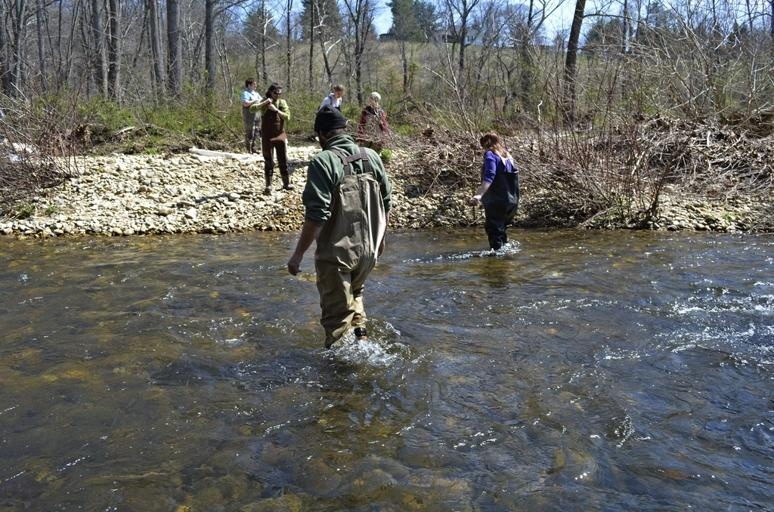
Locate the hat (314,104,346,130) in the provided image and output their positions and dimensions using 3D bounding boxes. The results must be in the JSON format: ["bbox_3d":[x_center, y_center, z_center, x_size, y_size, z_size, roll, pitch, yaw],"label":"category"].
[{"bbox_3d":[-0.625,-1.524,6.998,0.275,0.200,0.342,-6,12,-18],"label":"hat"}]

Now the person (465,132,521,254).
[{"bbox_3d":[1.841,-1.037,10.690,0.668,2.033,1.169,1,12,11],"label":"person"}]

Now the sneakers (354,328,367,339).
[{"bbox_3d":[-0.302,0.901,7.494,0.148,0.120,0.133,-3,3,21],"label":"sneakers"}]

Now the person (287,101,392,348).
[{"bbox_3d":[-0.519,-0.252,7.026,1.187,2.673,0.485,-12,16,-40],"label":"person"}]
